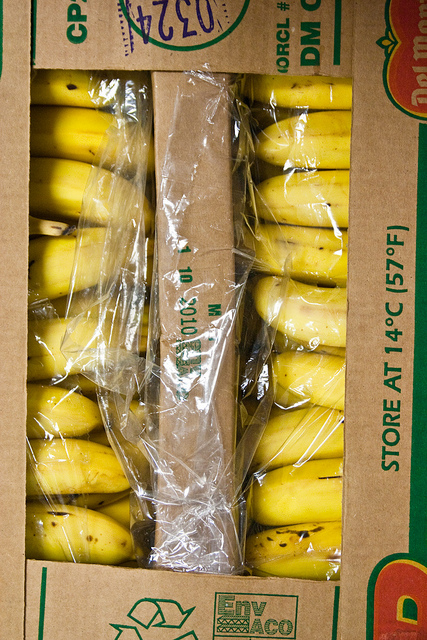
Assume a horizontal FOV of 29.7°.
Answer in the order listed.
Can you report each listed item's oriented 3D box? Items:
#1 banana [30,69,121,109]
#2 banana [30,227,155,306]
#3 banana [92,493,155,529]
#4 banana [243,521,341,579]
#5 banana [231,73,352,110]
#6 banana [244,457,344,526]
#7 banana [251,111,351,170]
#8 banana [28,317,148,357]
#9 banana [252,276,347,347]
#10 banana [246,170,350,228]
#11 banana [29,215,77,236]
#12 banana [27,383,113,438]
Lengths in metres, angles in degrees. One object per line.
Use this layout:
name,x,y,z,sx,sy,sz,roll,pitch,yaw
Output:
banana,-0.182,-0.306,1.085,0.035,0.047,0.135,-15,29,-27
banana,-0.163,-0.072,1.072,0.162,0.117,0.045,7,23,-4
banana,-0.105,0.258,1.075,0.129,0.050,0.036,-2,-5,41
banana,0.104,0.310,1.046,0.117,0.069,0.042,-3,-10,8
banana,0.106,-0.297,1.037,0.138,0.041,0.039,6,-3,7
banana,0.111,0.231,1.062,0.139,0.080,0.049,-6,-6,9
banana,0.124,-0.233,1.055,0.170,0.070,0.056,1,-2,2
banana,-0.167,0.027,1.068,0.158,0.064,0.042,8,24,-3
banana,0.114,-0.012,1.058,0.122,0.073,0.043,17,6,4
banana,0.120,-0.159,1.057,0.189,0.074,0.057,3,3,6
banana,-0.214,-0.122,1.063,0.074,0.028,0.022,6,-7,-2
banana,-0.194,0.136,1.110,0.157,0.054,0.060,9,37,-8
